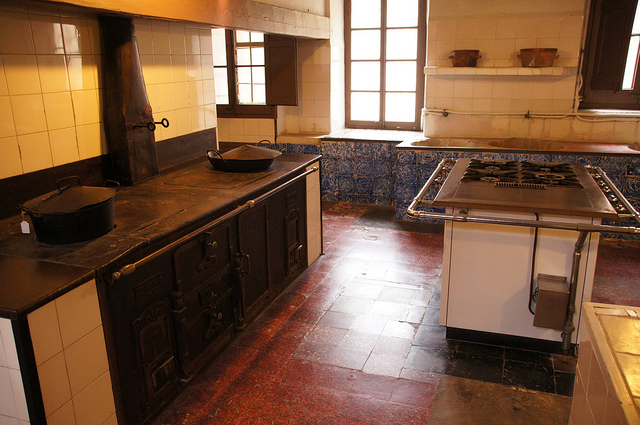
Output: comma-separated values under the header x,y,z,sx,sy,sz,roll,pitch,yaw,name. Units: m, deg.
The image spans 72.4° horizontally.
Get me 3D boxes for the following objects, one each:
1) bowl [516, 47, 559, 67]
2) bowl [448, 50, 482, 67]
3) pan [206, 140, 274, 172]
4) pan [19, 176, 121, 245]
x,y,z,sx,sy,sz,roll,pitch,yaw,name
2.708,-1.932,5.428,0.471,0.220,0.245,8,21,20,bowl
1.872,-1.942,5.593,0.254,0.138,0.272,-2,17,1,bowl
-0.708,-0.525,3.986,0.536,0.208,0.527,16,18,20,pan
-1.487,-0.024,2.598,0.428,0.300,0.537,15,26,21,pan
